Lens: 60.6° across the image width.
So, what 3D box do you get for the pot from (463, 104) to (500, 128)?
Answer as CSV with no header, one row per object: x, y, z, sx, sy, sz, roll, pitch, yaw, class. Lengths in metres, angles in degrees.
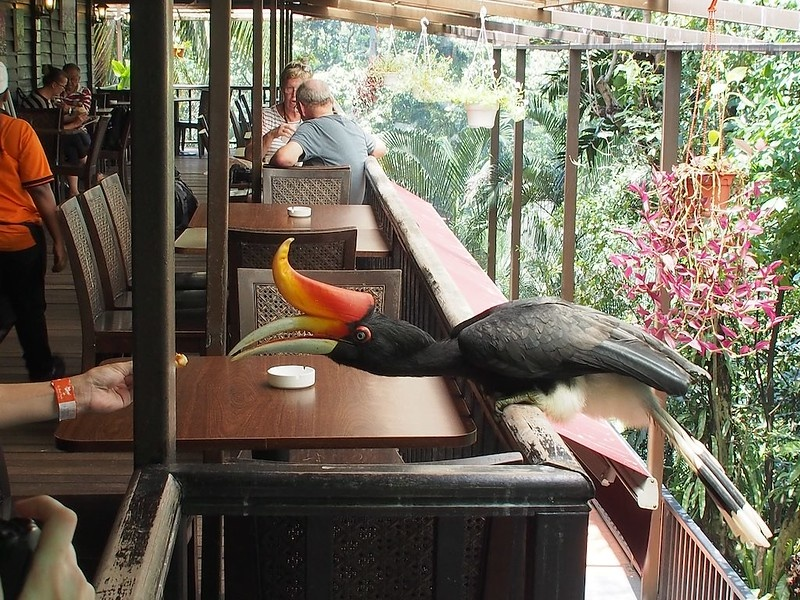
0.816,-1.805,6.797,0.303,0.256,0.475,10,19,14,pot

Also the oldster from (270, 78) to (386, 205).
-0.586,-1.451,5.804,0.740,1.085,0.723,2,20,-12,oldster

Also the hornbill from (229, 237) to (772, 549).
0.207,0.135,1.341,0.995,0.369,0.380,10,19,12,hornbill

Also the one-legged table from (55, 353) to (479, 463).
-0.383,0.421,2.091,1.088,0.270,0.758,2,10,-6,one-legged table

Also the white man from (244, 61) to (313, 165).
-1.231,-1.931,7.123,0.752,1.464,0.712,-3,20,-14,white man
